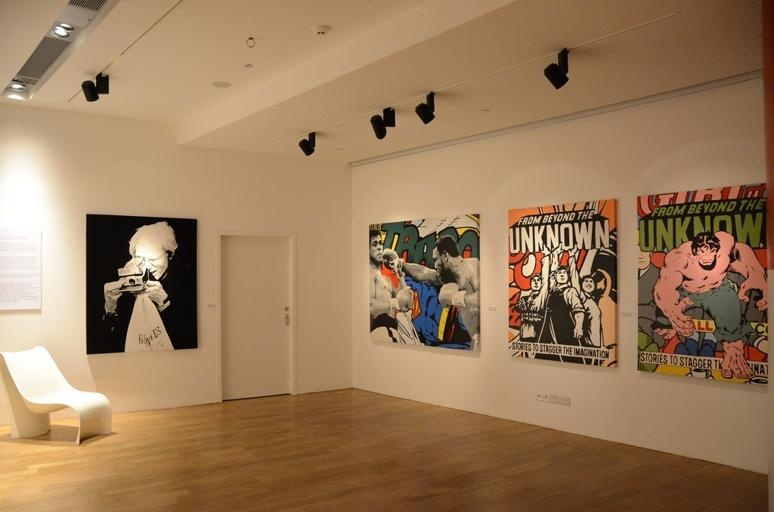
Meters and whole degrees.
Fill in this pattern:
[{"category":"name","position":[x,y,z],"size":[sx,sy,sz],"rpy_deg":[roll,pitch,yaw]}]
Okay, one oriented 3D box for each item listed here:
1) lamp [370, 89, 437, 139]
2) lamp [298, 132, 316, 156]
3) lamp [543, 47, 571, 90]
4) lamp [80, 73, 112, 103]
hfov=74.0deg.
[{"category":"lamp","position":[0.280,-1.816,6.782],"size":[0.478,0.509,1.155],"rpy_deg":[-1,1,-40]},{"category":"lamp","position":[-1.345,-1.733,8.048],"size":[0.211,0.402,0.371],"rpy_deg":[-4,9,-29]},{"category":"lamp","position":[1.801,-1.942,5.422],"size":[0.246,0.329,0.321],"rpy_deg":[0,0,21]},{"category":"lamp","position":[-3.749,-2.161,6.639],"size":[0.380,0.406,0.300],"rpy_deg":[0,9,-28]}]
